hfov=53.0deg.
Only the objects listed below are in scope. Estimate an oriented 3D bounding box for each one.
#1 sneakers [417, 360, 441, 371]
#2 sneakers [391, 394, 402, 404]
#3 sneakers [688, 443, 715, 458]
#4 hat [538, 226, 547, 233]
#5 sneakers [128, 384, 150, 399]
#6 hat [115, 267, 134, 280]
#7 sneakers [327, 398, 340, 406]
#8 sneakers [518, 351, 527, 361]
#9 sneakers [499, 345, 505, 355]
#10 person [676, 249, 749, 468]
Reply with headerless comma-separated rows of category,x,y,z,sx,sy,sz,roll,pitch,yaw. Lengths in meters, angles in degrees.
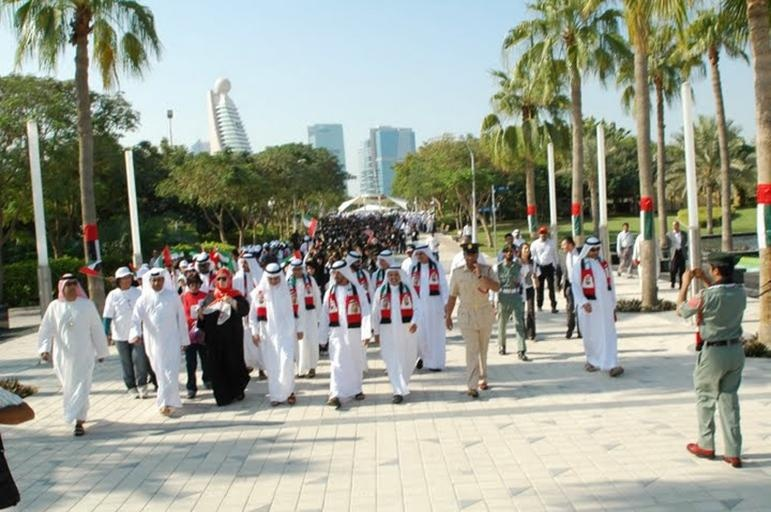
sneakers,1.003,2.447,17.649,0.217,0.288,0.626,-3,1,-43
sneakers,0.250,2.843,15.576,0.231,0.146,0.258,-3,13,0
sneakers,5.262,3.266,12.965,0.166,0.210,0.431,-6,10,-19
hat,4.401,-0.811,21.667,0.231,0.247,0.391,-1,-8,6
sneakers,-5.305,2.929,16.769,0.222,0.297,0.655,3,-13,-31
hat,-5.784,0.363,17.055,0.276,0.161,0.361,-9,-4,-41
sneakers,-1.020,2.892,15.462,0.234,0.206,0.106,0,13,15
sneakers,3.171,2.269,17.860,0.234,0.174,0.353,-2,13,6
sneakers,2.779,2.241,18.517,0.137,0.203,0.198,0,-6,0
person,5.423,1.675,12.819,0.982,3.400,0.791,3,14,26
